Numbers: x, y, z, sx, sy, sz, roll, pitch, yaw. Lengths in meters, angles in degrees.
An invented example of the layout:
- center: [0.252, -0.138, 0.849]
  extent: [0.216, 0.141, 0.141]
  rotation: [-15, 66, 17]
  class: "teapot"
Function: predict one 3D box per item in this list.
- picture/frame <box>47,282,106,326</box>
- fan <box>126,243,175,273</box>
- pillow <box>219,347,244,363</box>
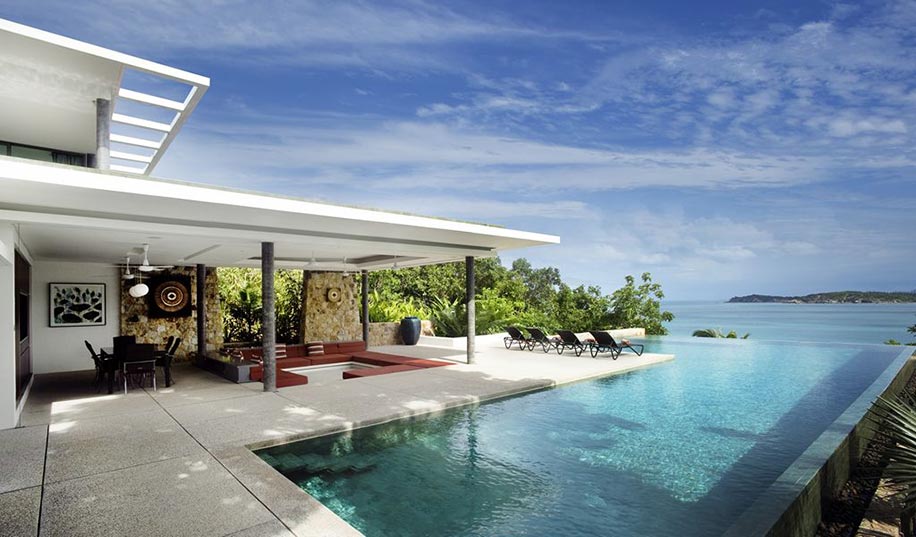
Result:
- center: [-13.636, 1.247, 17.147]
  extent: [2.079, 1.667, 0.091]
  rotation: [3, -5, -36]
  class: "picture/frame"
- center: [-10.484, -0.266, 16.631]
  extent: [1.721, 0.589, 1.661]
  rotation: [-4, 5, -40]
  class: "fan"
- center: [-7.454, 2.893, 16.117]
  extent: [0.575, 0.181, 2.180]
  rotation: [-4, 7, -31]
  class: "pillow"
